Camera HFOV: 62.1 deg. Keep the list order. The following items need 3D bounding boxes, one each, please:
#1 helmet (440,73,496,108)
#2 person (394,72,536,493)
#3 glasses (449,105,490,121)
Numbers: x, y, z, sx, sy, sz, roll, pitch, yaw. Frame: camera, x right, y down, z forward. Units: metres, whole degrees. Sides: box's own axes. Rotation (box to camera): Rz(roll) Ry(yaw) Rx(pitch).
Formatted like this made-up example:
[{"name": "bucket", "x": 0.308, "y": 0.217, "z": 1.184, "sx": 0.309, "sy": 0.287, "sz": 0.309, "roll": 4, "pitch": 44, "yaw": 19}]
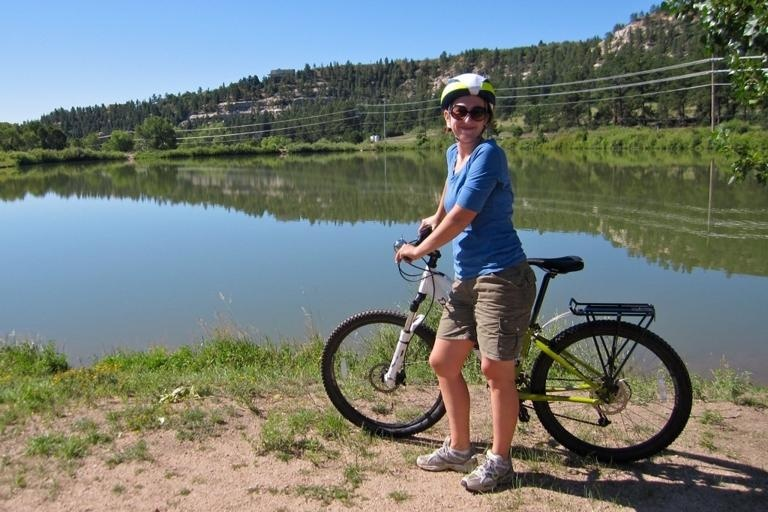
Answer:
[{"name": "helmet", "x": 0.783, "y": -1.618, "z": 6.053, "sx": 0.406, "sy": 0.344, "sz": 0.352, "roll": -1, "pitch": 45, "yaw": -11}, {"name": "person", "x": 0.875, "y": 0.258, "z": 6.022, "sx": 0.959, "sy": 3.829, "sz": 0.862, "roll": 5, "pitch": 14, "yaw": 32}, {"name": "glasses", "x": 0.807, "y": -1.340, "z": 5.986, "sx": 0.366, "sy": 0.170, "sz": 0.135, "roll": 0, "pitch": 13, "yaw": 14}]
